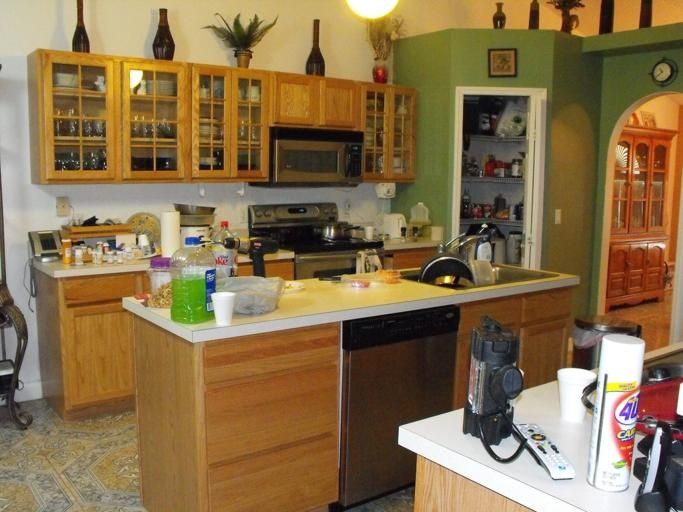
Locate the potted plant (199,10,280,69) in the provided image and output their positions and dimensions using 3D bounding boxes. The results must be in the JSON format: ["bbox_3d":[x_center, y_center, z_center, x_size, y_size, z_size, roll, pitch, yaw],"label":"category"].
[{"bbox_3d":[-0.859,-1.872,4.689,0.591,0.521,0.374,-4,11,-26],"label":"potted plant"}]

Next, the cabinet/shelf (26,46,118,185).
[{"bbox_3d":[-1.837,-0.985,3.996,0.582,0.874,0.316,4,8,6],"label":"cabinet/shelf"}]

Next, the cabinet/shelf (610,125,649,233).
[{"bbox_3d":[3.836,-0.963,7.223,0.295,1.293,1.068,11,14,43],"label":"cabinet/shelf"}]

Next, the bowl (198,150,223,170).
[{"bbox_3d":[-1.041,-0.777,4.414,0.173,0.166,0.038,0,6,-24],"label":"bowl"}]

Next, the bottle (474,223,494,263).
[{"bbox_3d":[0.882,-0.081,3.371,0.099,0.241,0.284,3,10,14],"label":"bottle"}]

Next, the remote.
[{"bbox_3d":[0.508,0.483,1.366,0.056,0.027,0.181,-6,12,-6],"label":"remote"}]

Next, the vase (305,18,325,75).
[{"bbox_3d":[-0.249,-1.932,5.050,0.159,0.540,0.353,-1,10,-8],"label":"vase"}]

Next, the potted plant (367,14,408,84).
[{"bbox_3d":[0.402,-2.124,5.573,0.397,0.666,0.408,0,10,-8],"label":"potted plant"}]

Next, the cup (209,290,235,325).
[{"bbox_3d":[-0.492,0.214,2.281,0.090,0.126,0.139,-3,10,-17],"label":"cup"}]

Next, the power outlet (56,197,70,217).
[{"bbox_3d":[-2.114,-0.380,4.165,0.097,0.159,0.030,-4,12,-25],"label":"power outlet"}]

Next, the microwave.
[{"bbox_3d":[-0.234,-0.837,4.867,0.837,0.391,0.422,-4,7,-37],"label":"microwave"}]

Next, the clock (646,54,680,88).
[{"bbox_3d":[3.159,-1.808,5.347,0.068,0.289,0.264,-6,12,-32],"label":"clock"}]

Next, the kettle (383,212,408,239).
[{"bbox_3d":[0.522,-0.297,5.399,0.199,0.221,0.259,-4,8,-35],"label":"kettle"}]

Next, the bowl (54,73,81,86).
[{"bbox_3d":[-1.911,-1.234,3.791,0.120,0.081,0.016,-2,4,-33],"label":"bowl"}]

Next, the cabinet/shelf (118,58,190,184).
[{"bbox_3d":[-1.477,-1.029,4.218,0.482,0.812,0.281,-6,17,-36],"label":"cabinet/shelf"}]

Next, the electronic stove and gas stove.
[{"bbox_3d":[-0.216,-0.163,5.006,1.151,0.179,0.654,-4,11,-27],"label":"electronic stove and gas stove"}]

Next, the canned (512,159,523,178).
[{"bbox_3d":[1.808,-0.911,5.623,0.101,0.179,0.221,3,10,12],"label":"canned"}]

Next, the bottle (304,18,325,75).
[{"bbox_3d":[-0.249,-1.931,5.052,0.159,0.543,0.355,-1,10,-8],"label":"bottle"}]

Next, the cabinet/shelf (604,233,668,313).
[{"bbox_3d":[3.858,0.207,7.457,1.268,0.919,0.456,-4,10,-28],"label":"cabinet/shelf"}]

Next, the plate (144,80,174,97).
[{"bbox_3d":[-1.362,-1.272,4.126,0.170,0.068,0.111,-7,13,-38],"label":"plate"}]

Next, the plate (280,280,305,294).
[{"bbox_3d":[-0.245,0.145,2.916,0.102,0.059,0.272,0,9,-3],"label":"plate"}]

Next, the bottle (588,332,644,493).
[{"bbox_3d":[0.650,0.366,1.293,0.095,0.358,0.142,7,12,30],"label":"bottle"}]

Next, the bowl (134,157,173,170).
[{"bbox_3d":[-1.443,-0.711,4.155,0.229,0.114,0.054,2,3,-30],"label":"bowl"}]

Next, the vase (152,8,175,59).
[{"bbox_3d":[-1.403,-1.734,4.284,0.149,0.413,0.321,-4,11,-24],"label":"vase"}]

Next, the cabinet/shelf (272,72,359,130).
[{"bbox_3d":[-0.160,-1.402,4.944,0.837,0.404,0.269,10,21,18],"label":"cabinet/shelf"}]

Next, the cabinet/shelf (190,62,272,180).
[{"bbox_3d":[-0.993,-1.096,4.560,0.693,0.888,0.316,-9,20,-41],"label":"cabinet/shelf"}]

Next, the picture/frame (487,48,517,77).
[{"bbox_3d":[1.518,-1.842,5.159,0.277,0.266,0.020,-1,4,-7],"label":"picture/frame"}]

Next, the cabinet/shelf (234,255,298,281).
[{"bbox_3d":[-0.606,0.101,4.435,0.520,0.213,0.101,-4,12,-28],"label":"cabinet/shelf"}]

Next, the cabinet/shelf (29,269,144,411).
[{"bbox_3d":[-1.985,0.592,4.017,0.769,1.073,0.817,-1,0,30],"label":"cabinet/shelf"}]
